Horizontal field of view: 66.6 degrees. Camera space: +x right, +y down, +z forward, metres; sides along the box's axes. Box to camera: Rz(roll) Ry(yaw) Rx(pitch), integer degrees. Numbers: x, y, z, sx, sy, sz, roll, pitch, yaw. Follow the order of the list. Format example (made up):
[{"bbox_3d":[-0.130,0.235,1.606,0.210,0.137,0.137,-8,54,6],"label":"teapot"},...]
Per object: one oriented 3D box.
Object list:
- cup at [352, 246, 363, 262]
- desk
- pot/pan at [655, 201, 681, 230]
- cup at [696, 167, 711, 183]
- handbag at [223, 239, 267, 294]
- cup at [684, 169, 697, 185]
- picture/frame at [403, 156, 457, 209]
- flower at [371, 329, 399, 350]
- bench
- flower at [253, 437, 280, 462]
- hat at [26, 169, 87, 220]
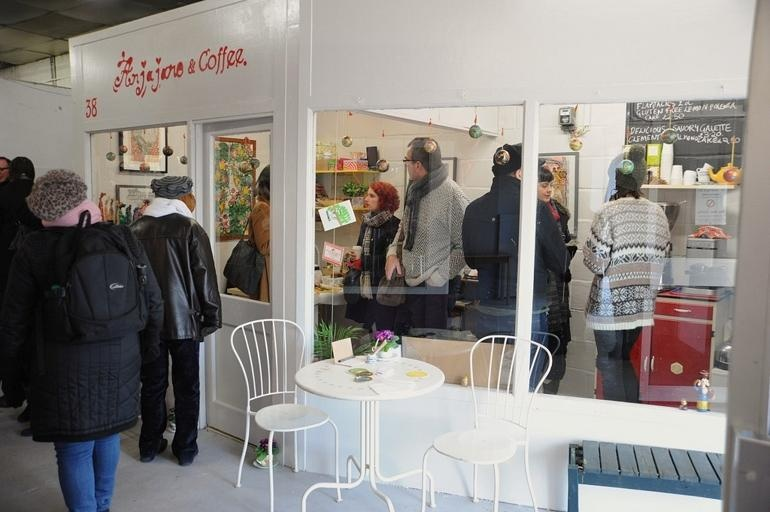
[{"bbox_3d":[-0.207,-0.030,4.303,0.089,0.093,0.088,0,6,0],"label":"cup"},{"bbox_3d":[-0.101,1.224,3.920,0.950,0.987,0.735,0,9,4],"label":"desk"},{"bbox_3d":[1.840,-0.281,3.841,0.149,0.157,0.154,1,7,25],"label":"pot/pan"},{"bbox_3d":[1.980,-0.512,3.673,0.098,0.093,0.064,1,6,19],"label":"cup"},{"bbox_3d":[-1.116,0.085,4.753,0.321,0.432,0.120,22,2,27],"label":"handbag"},{"bbox_3d":[1.911,-0.508,3.694,0.092,0.080,0.062,1,2,6],"label":"cup"},{"bbox_3d":[0.341,-0.524,4.218,0.134,0.364,0.285,13,12,-42],"label":"picture/frame"},{"bbox_3d":[-0.001,0.587,4.203,0.143,0.127,0.136,4,12,15],"label":"flower"},{"bbox_3d":[1.661,1.314,3.646,0.864,0.146,0.338,1,9,11],"label":"bench"},{"bbox_3d":[-0.908,1.462,4.471,0.157,0.167,0.175,12,-8,-20],"label":"flower"},{"bbox_3d":[-1.899,-0.355,3.392,0.307,0.290,0.166,-4,9,-22],"label":"hat"}]
